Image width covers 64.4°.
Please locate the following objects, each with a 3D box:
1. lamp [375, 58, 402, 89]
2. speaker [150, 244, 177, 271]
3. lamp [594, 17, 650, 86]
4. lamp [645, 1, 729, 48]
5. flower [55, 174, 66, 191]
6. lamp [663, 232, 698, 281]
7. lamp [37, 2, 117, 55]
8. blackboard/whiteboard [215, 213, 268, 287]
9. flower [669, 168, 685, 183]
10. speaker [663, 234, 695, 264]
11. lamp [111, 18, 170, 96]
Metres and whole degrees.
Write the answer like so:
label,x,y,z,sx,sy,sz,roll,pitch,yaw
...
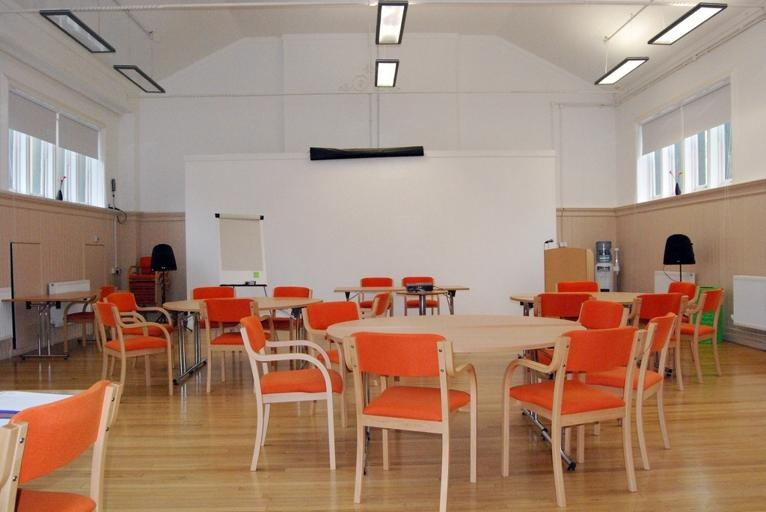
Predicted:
label,x,y,z,sx,sy,sz,roll,pitch,yaw
lamp,0.042,-3.190,10.111,0.344,0.448,0.790,0,-2,-2
speaker,-4.199,0.016,11.609,0.488,0.541,0.495,0,4,-4
lamp,4.414,-3.850,11.261,0.357,0.688,1.040,7,-17,-11
lamp,4.469,-3.469,9.067,0.464,0.318,1.041,0,-2,-27
flower,-5.756,-1.278,10.891,0.127,0.308,0.457,0,-1,-26
lamp,5.020,0.093,10.349,0.443,1.004,0.426,2,30,27
lamp,-4.603,-3.445,9.252,0.623,0.462,1.468,0,-2,-1
blackboard/whiteboard,-2.586,-0.084,10.902,1.294,1.752,0.180,0,-8,-28
flower,5.582,-1.555,11.597,0.157,0.304,0.221,5,18,23
speaker,4.950,-0.093,10.288,0.485,0.527,0.496,0,-2,4
lamp,-4.592,-3.699,11.551,0.719,1.163,2.503,0,-2,-17
